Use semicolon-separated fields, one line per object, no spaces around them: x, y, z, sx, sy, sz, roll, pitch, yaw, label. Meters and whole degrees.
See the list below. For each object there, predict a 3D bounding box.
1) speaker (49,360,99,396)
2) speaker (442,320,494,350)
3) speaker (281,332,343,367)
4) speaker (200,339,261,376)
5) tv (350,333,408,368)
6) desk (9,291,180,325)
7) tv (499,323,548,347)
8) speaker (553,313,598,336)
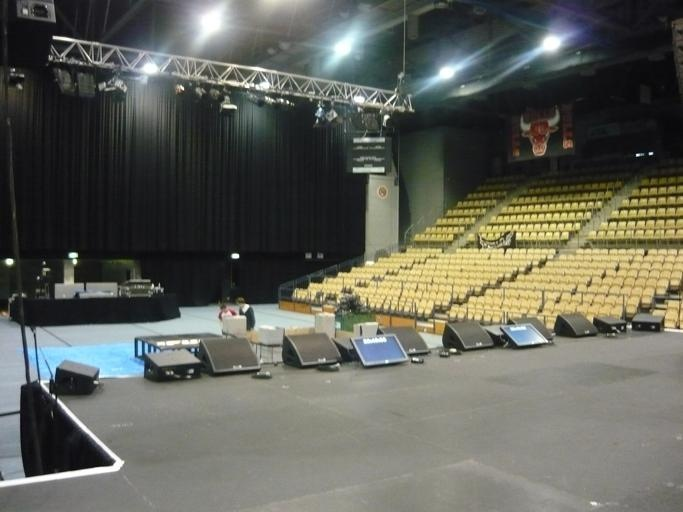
-3.363;1.553;7.113;0.411;0.335;0.452;4;-1;-7;speaker
2.248;1.416;9.963;0.999;0.425;0.496;-3;9;-27;speaker
-0.492;1.489;8.790;0.797;0.530;0.657;3;-3;-42;speaker
-1.727;1.477;8.345;0.757;0.494;0.762;3;2;-40;speaker
0.602;1.477;8.774;0.859;0.415;0.400;-3;9;-26;tv
-6.878;1.599;16.211;3.991;0.975;0.781;-4;10;-31;desk
3.335;1.452;10.212;0.827;0.343;0.457;-2;9;-20;tv
4.641;1.410;11.256;0.554;0.392;0.510;3;-7;-30;speaker
